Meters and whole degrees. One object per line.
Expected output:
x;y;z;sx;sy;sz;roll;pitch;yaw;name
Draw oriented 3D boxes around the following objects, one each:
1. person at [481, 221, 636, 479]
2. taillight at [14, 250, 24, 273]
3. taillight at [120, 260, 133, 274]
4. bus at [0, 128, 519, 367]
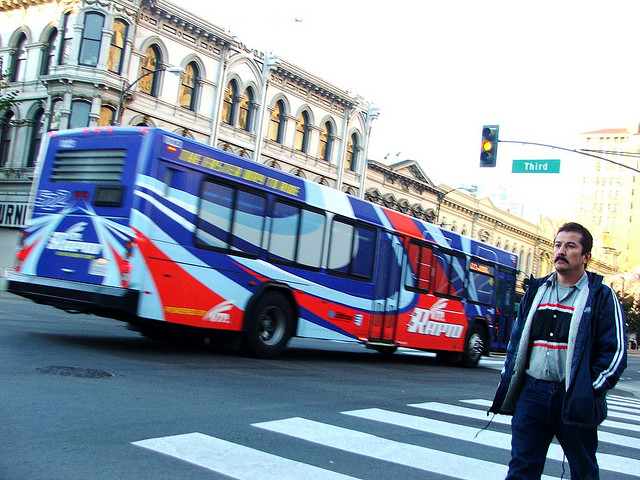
1.603;0.709;3.412;0.776;1.713;0.561;6;-3;27;person
-6.101;0.424;10.291;0.086;0.493;0.360;10;-4;-42;taillight
-3.436;0.471;9.015;0.232;0.231;0.038;5;-3;16;taillight
0.485;1.089;14.347;15.220;4.578;3.251;7;-2;-41;bus
